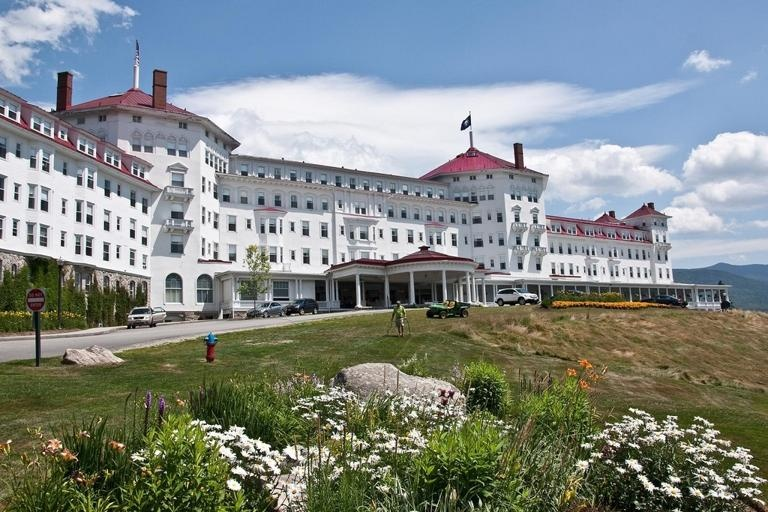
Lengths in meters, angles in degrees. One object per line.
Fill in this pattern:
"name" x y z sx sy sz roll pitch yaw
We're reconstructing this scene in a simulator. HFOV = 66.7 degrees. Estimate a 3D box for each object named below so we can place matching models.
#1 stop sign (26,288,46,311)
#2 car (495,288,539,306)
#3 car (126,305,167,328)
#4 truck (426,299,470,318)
"stop sign" -11.947 1.465 19.971 0.523 0.801 0.717 2 -7 -34
"car" 13.147 4.123 58.388 4.014 1.452 1.943 -7 -7 34
"car" -18.448 4.640 45.454 1.747 1.188 3.655 -3 -11 0
"truck" 4.294 3.437 39.729 2.107 0.926 1.406 3 -10 -11
